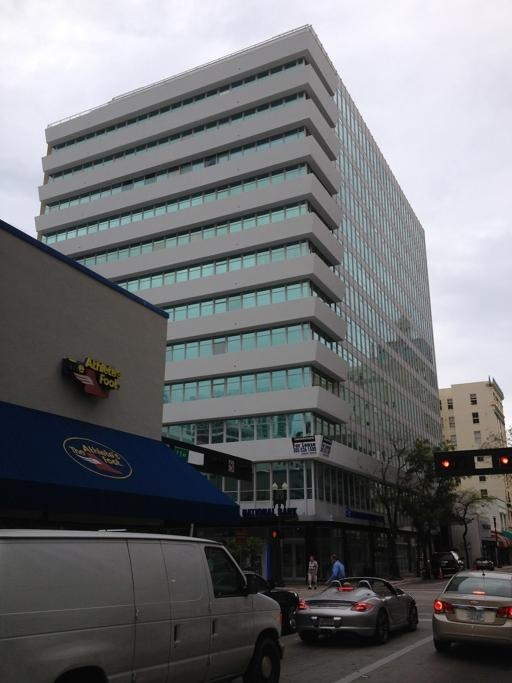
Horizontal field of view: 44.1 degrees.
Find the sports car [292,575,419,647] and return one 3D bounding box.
[{"bbox_3d":[2.238,5.311,12.781,1.271,0.792,2.473,-6,-12,30],"label":"sports car"}]

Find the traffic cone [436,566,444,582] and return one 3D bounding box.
[{"bbox_3d":[13.019,16.497,44.897,0.771,0.971,0.742,0,-14,-2],"label":"traffic cone"}]

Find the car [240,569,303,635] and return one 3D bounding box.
[{"bbox_3d":[0.135,5.661,13.897,0.993,0.911,1.720,-16,-26,30],"label":"car"}]
